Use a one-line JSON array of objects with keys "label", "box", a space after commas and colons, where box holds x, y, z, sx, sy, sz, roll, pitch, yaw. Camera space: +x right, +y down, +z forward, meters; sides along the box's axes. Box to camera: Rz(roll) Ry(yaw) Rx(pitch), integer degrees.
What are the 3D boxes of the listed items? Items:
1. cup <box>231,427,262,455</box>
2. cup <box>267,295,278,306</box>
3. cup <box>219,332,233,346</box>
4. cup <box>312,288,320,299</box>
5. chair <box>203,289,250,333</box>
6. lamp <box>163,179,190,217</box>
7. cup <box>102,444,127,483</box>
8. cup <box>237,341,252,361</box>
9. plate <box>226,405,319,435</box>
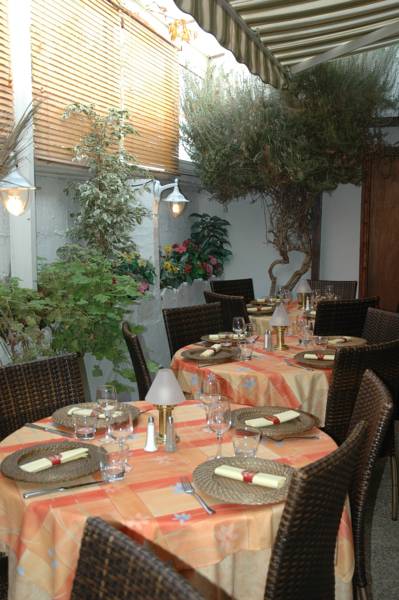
[{"label": "cup", "box": [0.142, 0.423, 1.315, 0.085, 0.071, 0.078, -4, 12, 1]}, {"label": "cup", "box": [0.771, 0.022, 4.513, 0.085, 0.069, 0.091, 0, -1, 0]}, {"label": "cup", "box": [0.172, 0.260, 2.810, 0.089, 0.070, 0.081, -1, 3, 0]}, {"label": "cup", "box": [1.255, -0.061, 4.587, 0.095, 0.090, 0.094, -1, -2, 0]}, {"label": "chair", "box": [0.235, 0.111, 4.371, 0.414, 0.695, 0.398, -7, 4, -2]}, {"label": "lamp", "box": [-0.281, -1.191, 5.000, 0.217, 0.387, 0.402, -2, 5, -4]}, {"label": "cup", "box": [-0.234, 0.465, 1.251, 0.096, 0.106, 0.099, -1, 3, 0]}, {"label": "cup", "box": [0.279, 0.318, 2.668, 0.102, 0.107, 0.096, -2, 9, 0]}, {"label": "plate", "box": [0.281, 0.460, 1.617, 0.161, 0.022, 0.164, 0, 4, 35]}]
